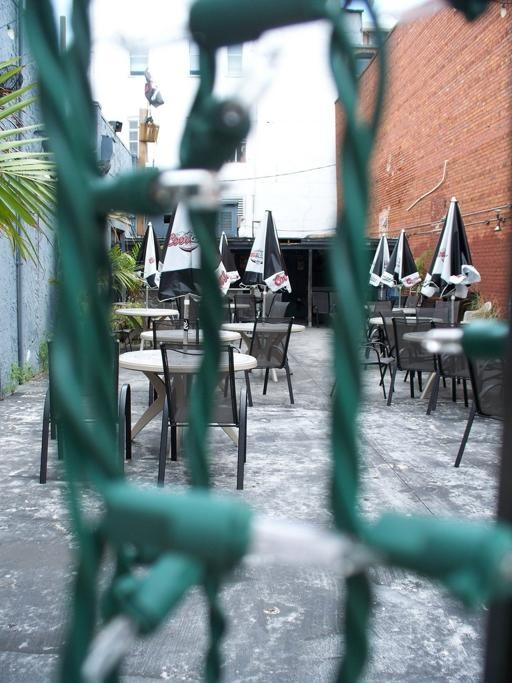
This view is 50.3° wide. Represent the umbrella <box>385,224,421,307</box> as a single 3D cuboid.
[{"bbox_3d":[2.872,-1.419,11.057,0.645,1.800,0.697,5,-12,-6],"label":"umbrella"}]

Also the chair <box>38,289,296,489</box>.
[{"bbox_3d":[-0.497,0.327,3.980,1.269,0.766,1.278,-4,7,-40],"label":"chair"}]

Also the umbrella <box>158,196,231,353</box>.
[{"bbox_3d":[-0.584,-0.673,4.860,0.705,0.662,1.272,-6,35,1],"label":"umbrella"}]
